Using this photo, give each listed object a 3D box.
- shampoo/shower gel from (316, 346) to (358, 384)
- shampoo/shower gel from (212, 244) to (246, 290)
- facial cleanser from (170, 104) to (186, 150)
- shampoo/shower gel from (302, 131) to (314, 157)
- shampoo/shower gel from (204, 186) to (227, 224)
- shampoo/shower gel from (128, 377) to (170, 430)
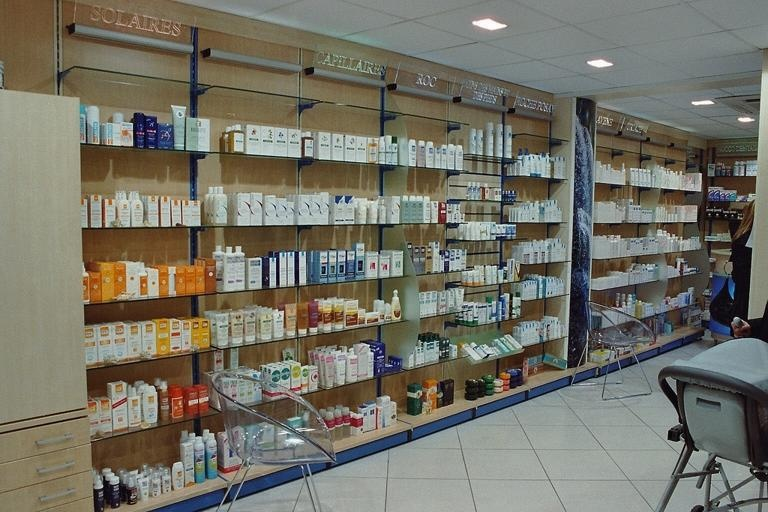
[{"bbox_3d":[-0.474,1.074,5.419,0.362,0.322,0.137,-1,-1,-30],"label":"shampoo/shower gel"},{"bbox_3d":[-1.335,0.116,4.858,0.266,0.372,0.167,-2,10,-19],"label":"shampoo/shower gel"},{"bbox_3d":[-1.682,-1.044,4.616,0.101,0.347,0.104,-2,10,-21],"label":"facial cleanser"},{"bbox_3d":[-0.723,-1.031,5.280,0.112,0.239,0.089,0,9,-9],"label":"shampoo/shower gel"},{"bbox_3d":[-1.447,-0.416,4.814,0.188,0.321,0.131,0,9,-6],"label":"shampoo/shower gel"},{"bbox_3d":[-1.917,1.211,4.582,0.305,0.351,0.183,-3,10,-25],"label":"shampoo/shower gel"}]
